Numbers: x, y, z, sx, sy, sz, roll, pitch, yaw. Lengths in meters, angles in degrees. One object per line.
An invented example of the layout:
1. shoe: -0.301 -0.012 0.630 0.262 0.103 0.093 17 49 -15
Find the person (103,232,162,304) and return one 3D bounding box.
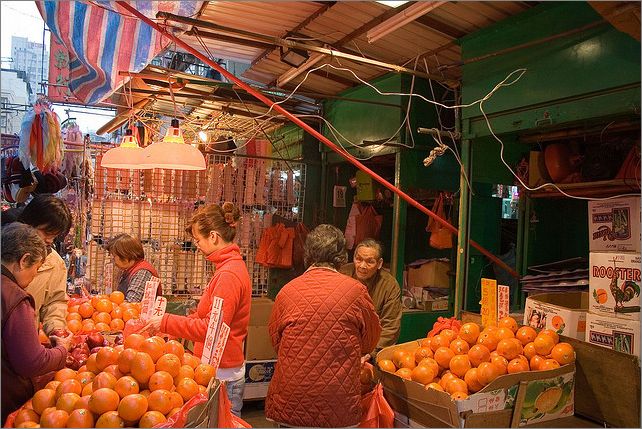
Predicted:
1. person: -2.002 0.631 4.953 0.482 0.787 0.775 -5 5 -32

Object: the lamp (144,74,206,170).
1. lamp: -1.344 -0.669 4.065 0.481 0.524 0.474 0 -1 10

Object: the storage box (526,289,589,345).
1. storage box: 1.988 0.827 3.886 0.400 0.253 0.399 4 7 -18
